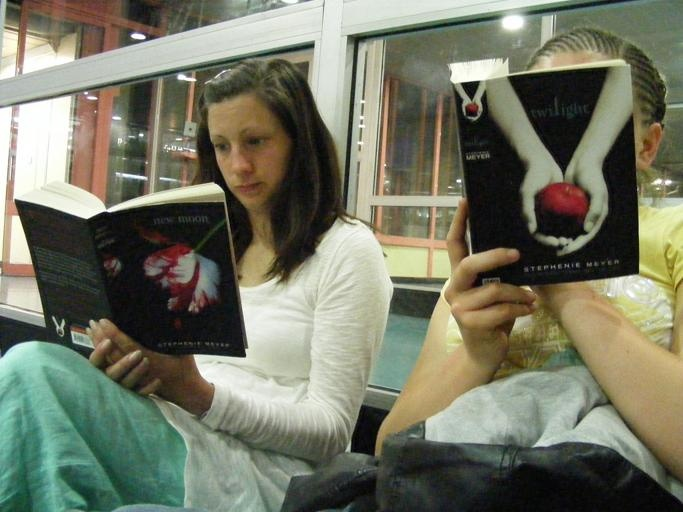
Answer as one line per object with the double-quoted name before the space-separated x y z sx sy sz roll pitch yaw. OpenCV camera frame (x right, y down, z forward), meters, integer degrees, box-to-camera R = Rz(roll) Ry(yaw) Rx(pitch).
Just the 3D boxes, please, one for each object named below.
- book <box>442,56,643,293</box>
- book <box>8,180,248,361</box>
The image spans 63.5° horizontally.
"book" 0.297 -0.119 0.780 0.302 0.301 0.072 -1 6 4
"book" -0.420 0.039 1.062 0.482 0.355 0.159 7 -27 -44
